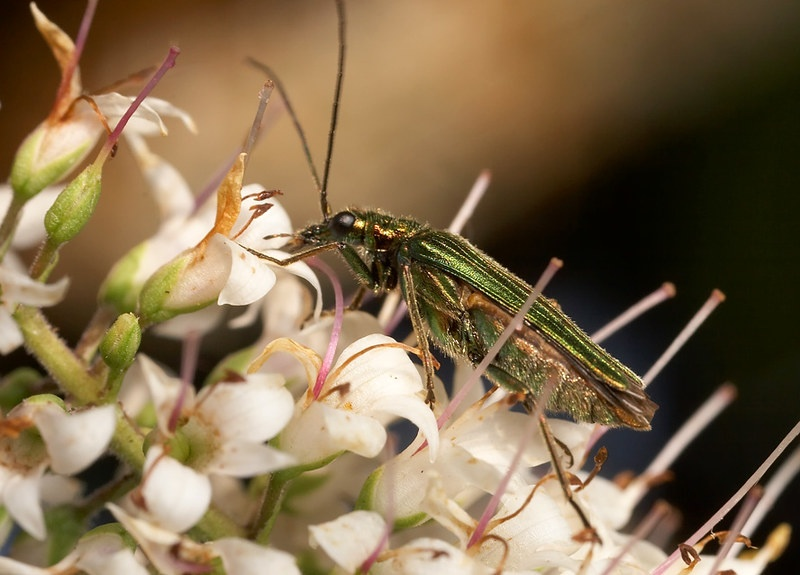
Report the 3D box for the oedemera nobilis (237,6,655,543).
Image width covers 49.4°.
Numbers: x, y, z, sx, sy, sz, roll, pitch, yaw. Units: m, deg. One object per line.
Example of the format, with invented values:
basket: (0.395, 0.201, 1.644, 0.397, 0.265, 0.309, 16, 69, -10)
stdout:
oedemera nobilis: (0.148, 0.196, 3.346, 1.943, 1.106, 0.719, 41, -36, 1)
